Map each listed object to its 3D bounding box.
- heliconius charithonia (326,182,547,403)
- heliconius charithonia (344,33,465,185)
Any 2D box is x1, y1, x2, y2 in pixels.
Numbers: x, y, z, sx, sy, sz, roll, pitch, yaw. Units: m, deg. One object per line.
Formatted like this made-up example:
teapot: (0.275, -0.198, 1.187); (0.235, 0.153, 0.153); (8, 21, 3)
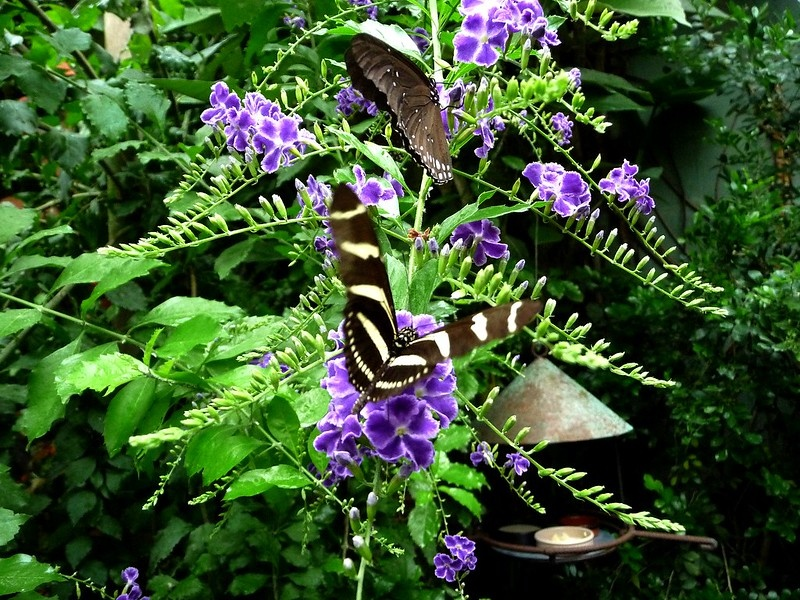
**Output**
heliconius charithonia: (0.020, 0.058, 1.847); (0.531, 0.462, 0.154); (27, 17, 4)
heliconius charithonia: (0.024, -0.479, 2.067); (0.169, 0.379, 0.363); (-13, 39, 2)
